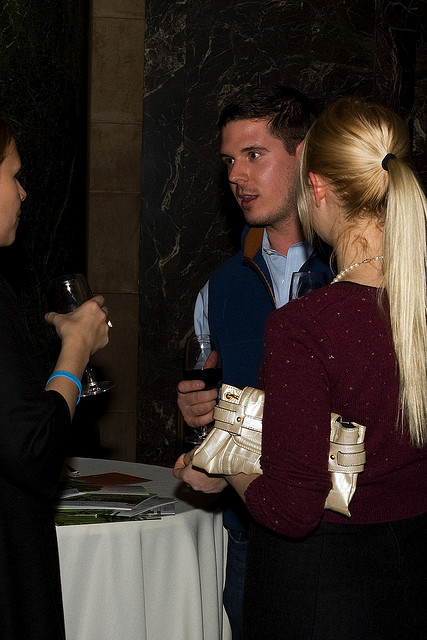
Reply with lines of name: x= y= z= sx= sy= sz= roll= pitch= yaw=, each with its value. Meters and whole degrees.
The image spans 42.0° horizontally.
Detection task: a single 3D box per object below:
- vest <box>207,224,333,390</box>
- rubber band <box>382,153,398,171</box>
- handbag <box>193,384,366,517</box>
vest: x=0.135 y=-0.058 z=1.743 sx=0.341 sy=0.508 sz=0.303 roll=-1 pitch=13 yaw=-19
rubber band: x=0.266 y=-0.240 z=0.842 sx=0.024 sy=0.024 sz=0.006 roll=27 pitch=-12 yaw=-38
handbag: x=0.102 y=0.201 z=0.891 sx=0.300 sy=0.171 sz=0.074 roll=2 pitch=5 yaw=38
